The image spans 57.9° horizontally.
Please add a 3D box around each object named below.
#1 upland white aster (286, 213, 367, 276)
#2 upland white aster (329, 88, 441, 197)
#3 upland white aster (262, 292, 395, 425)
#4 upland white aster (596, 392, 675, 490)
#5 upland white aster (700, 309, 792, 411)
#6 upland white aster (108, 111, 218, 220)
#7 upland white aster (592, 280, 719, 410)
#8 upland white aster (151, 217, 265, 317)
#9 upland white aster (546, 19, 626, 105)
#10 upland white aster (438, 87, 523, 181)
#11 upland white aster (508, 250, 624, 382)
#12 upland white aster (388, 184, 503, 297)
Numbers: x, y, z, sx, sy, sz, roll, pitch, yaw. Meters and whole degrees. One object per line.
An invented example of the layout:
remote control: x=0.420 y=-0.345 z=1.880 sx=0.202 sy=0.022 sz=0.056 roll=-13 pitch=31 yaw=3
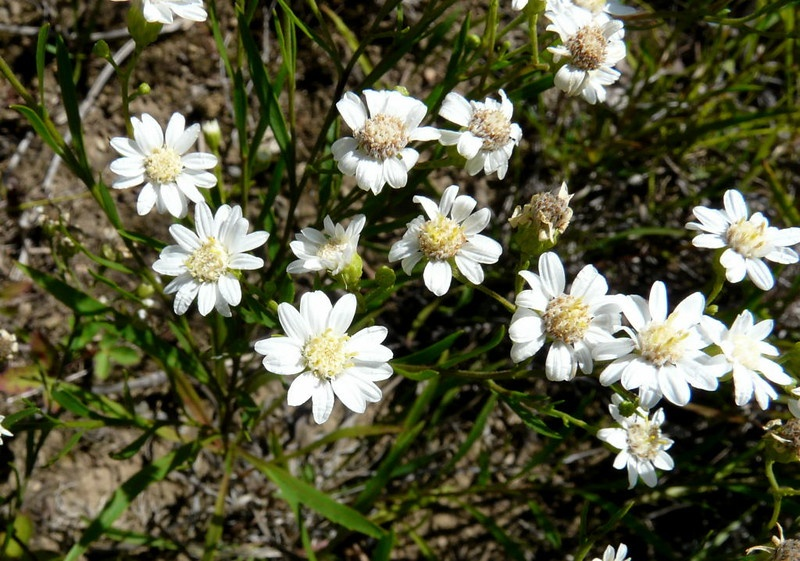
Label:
upland white aster: x=-0.308 y=-0.133 z=3.035 sx=0.259 sy=0.113 sz=0.276 roll=-40 pitch=59 yaw=17
upland white aster: x=-0.077 y=-0.615 z=3.041 sx=0.437 sy=0.182 sz=0.437 roll=44 pitch=80 yaw=-7
upland white aster: x=-0.316 y=0.313 z=2.990 sx=0.532 sy=0.197 sz=0.579 roll=28 pitch=46 yaw=6
upland white aster: x=1.084 y=0.705 z=3.245 sx=0.385 sy=0.145 sz=0.417 roll=-20 pitch=78 yaw=-34
upland white aster: x=1.438 y=0.374 z=3.143 sx=0.385 sy=0.121 sz=0.412 roll=-26 pitch=84 yaw=-15
upland white aster: x=-1.037 y=-0.521 z=3.129 sx=0.398 sy=0.426 sz=0.121 roll=-9 pitch=70 yaw=-38
upland white aster: x=1.088 y=0.295 z=3.092 sx=0.478 sy=0.242 sz=0.494 roll=12 pitch=77 yaw=-2
upland white aster: x=-0.791 y=-0.109 z=3.025 sx=0.491 sy=0.478 sz=0.147 roll=27 pitch=45 yaw=-28
upland white aster: x=0.805 y=-0.949 z=3.313 sx=0.360 sy=0.147 sz=0.382 roll=-26 pitch=93 yaw=-25
upland white aster: x=0.344 y=-0.631 z=3.122 sx=0.350 sy=0.187 sz=0.338 roll=1 pitch=68 yaw=-10
upland white aster: x=0.696 y=0.162 z=3.048 sx=0.423 sy=0.468 sz=0.176 roll=13 pitch=91 yaw=12
upland white aster: x=0.176 y=-0.202 z=3.147 sx=0.552 sy=0.588 sz=0.209 roll=1 pitch=63 yaw=15
